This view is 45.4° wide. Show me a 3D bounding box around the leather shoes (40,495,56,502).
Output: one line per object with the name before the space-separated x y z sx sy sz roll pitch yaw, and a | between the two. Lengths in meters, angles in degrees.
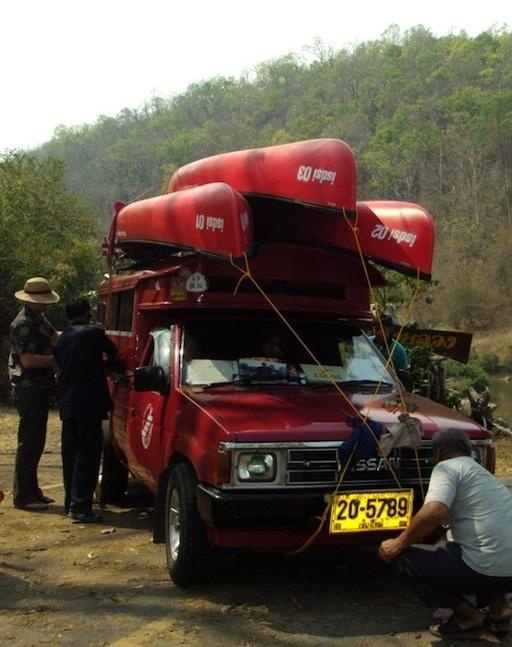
leather shoes | -2.221 1.868 6.512 0.060 0.066 0.175 1 -8 -40

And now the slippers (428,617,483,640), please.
slippers | 0.974 1.500 3.027 0.254 0.090 0.092 3 -6 5

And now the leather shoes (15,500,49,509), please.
leather shoes | -2.259 1.853 6.196 0.326 0.107 0.101 -2 -3 3

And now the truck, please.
truck | 0.012 0.513 4.925 2.029 1.543 3.264 3 -5 -24

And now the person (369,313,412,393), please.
person | 1.411 0.412 6.648 0.500 0.258 0.911 3 43 -6

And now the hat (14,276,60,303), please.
hat | -2.227 -0.310 6.391 0.394 0.179 0.381 8 -2 25
